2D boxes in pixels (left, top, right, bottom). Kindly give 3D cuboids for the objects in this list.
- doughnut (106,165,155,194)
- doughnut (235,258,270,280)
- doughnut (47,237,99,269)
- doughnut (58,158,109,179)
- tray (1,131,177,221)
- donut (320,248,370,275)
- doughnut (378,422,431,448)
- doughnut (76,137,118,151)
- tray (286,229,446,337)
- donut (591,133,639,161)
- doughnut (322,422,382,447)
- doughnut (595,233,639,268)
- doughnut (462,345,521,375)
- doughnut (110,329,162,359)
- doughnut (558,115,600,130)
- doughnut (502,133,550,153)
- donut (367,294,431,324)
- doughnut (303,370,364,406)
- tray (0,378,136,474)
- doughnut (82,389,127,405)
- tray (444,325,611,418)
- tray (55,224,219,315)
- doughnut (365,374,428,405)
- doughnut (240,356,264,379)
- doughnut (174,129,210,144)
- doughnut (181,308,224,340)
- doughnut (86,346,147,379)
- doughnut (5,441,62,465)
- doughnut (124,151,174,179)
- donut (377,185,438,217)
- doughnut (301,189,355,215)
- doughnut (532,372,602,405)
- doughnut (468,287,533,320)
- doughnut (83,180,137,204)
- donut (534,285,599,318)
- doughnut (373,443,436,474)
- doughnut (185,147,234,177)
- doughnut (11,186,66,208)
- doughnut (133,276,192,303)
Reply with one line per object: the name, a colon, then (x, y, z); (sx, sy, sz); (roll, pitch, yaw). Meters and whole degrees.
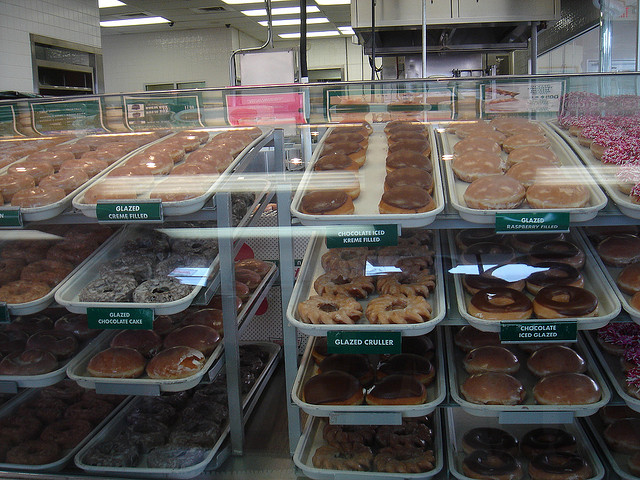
doughnut: (-0.590, -0.204, 1.397); (0.140, 0.031, 0.122); (1, 37, -2)
doughnut: (-0.322, 0.129, 2.055); (0.139, 0.049, 0.088); (4, 7, -5)
doughnut: (-0.896, 0.029, 1.599); (0.151, 0.038, 0.126); (15, 35, 19)
doughnut: (-0.797, -0.259, 1.483); (0.118, 0.031, 0.094); (-1, 22, 0)
tray: (-0.753, -0.184, 1.397); (0.385, 0.040, 0.197); (-16, 39, -12)
donut: (0.081, 0.067, 1.466); (0.166, 0.067, 0.091); (-1, 18, 6)
doughnut: (0.285, 0.644, 1.456); (0.128, 0.030, 0.082); (-3, 11, -9)
doughnut: (-0.813, -0.358, 1.564); (0.090, 0.016, 0.080); (-10, 26, -26)
tray: (0.169, 0.109, 1.494); (0.500, 0.057, 0.587); (-1, 31, 5)
donut: (0.910, -0.289, 1.352); (0.108, 0.022, 0.095); (7, 41, 34)
doughnut: (0.122, 0.625, 1.465); (0.151, 0.037, 0.125); (1, 3, -7)
doughnut: (0.984, 0.021, 1.461); (0.146, 0.064, 0.132); (-9, 13, -29)
doughnut: (0.566, 0.394, 1.453); (0.137, 0.053, 0.118); (-1, 7, 7)
doughnut: (-0.674, 0.365, 1.611); (0.134, 0.060, 0.146); (5, 3, 44)
doughnut: (0.864, -0.394, 1.450); (0.094, 0.019, 0.078); (-2, 12, 1)
doughnut: (0.681, -0.323, 1.442); (0.128, 0.029, 0.076); (-3, 17, 1)
donut: (0.256, 0.207, 1.375); (0.233, 0.056, 0.208); (-1, 9, 19)
doughnut: (0.050, 0.503, 1.429); (0.224, 0.047, 0.170); (-5, 0, 7)
tray: (-0.923, 0.663, 1.593); (0.328, 0.045, 0.419); (2, 10, 12)
doughnut: (-0.872, 0.630, 1.764); (0.168, 0.034, 0.143); (-1, 4, -6)
tray: (0.651, 0.438, 1.366); (0.422, 0.046, 0.341); (-1, 26, 3)
tray: (-0.622, 0.110, 1.641); (0.475, 0.051, 0.569); (2, 23, 2)
doughnut: (0.218, 0.495, 1.428); (0.178, 0.044, 0.189); (6, -8, -34)
doughnut: (-0.309, 0.563, 1.976); (0.079, 0.021, 0.084); (3, 14, 5)
doughnut: (-0.437, -0.377, 1.544); (0.082, 0.019, 0.074); (15, 33, 26)
doughnut: (-0.456, 0.312, 1.720); (0.153, 0.056, 0.129); (-2, 10, -16)
doughnut: (-0.711, 0.407, 1.519); (0.128, 0.057, 0.135); (4, 2, 41)
doughnut: (-0.990, 0.734, 1.516); (0.179, 0.032, 0.083); (0, 17, 9)
doughnut: (-0.546, -0.260, 1.438); (0.150, 0.052, 0.120); (-10, 37, -14)
donut: (0.245, -0.125, 1.296); (0.136, 0.052, 0.114); (1, 18, 11)
doughnut: (0.017, -0.116, 1.303); (0.110, 0.030, 0.110); (15, 22, 41)
doughnut: (0.766, 0.444, 1.383); (0.219, 0.052, 0.147); (2, 31, 7)
doughnut: (0.539, 0.188, 1.319); (0.182, 0.074, 0.094); (0, 18, 9)
doughnut: (-0.660, -0.158, 1.370); (0.114, 0.037, 0.110); (3, 10, 36)
donut: (0.738, 0.185, 1.330); (0.185, 0.053, 0.165); (3, 32, 38)
doughnut: (0.267, 0.687, 1.378); (0.186, 0.026, 0.122); (2, 17, 15)
doughnut: (-0.366, -0.281, 1.468); (0.143, 0.036, 0.123); (-1, 32, -3)
doughnut: (-0.899, -0.141, 1.392); (0.148, 0.057, 0.067); (-3, 18, 0)
doughnut: (-0.521, 0.161, 1.450); (0.177, 0.051, 0.127); (4, 18, 22)
